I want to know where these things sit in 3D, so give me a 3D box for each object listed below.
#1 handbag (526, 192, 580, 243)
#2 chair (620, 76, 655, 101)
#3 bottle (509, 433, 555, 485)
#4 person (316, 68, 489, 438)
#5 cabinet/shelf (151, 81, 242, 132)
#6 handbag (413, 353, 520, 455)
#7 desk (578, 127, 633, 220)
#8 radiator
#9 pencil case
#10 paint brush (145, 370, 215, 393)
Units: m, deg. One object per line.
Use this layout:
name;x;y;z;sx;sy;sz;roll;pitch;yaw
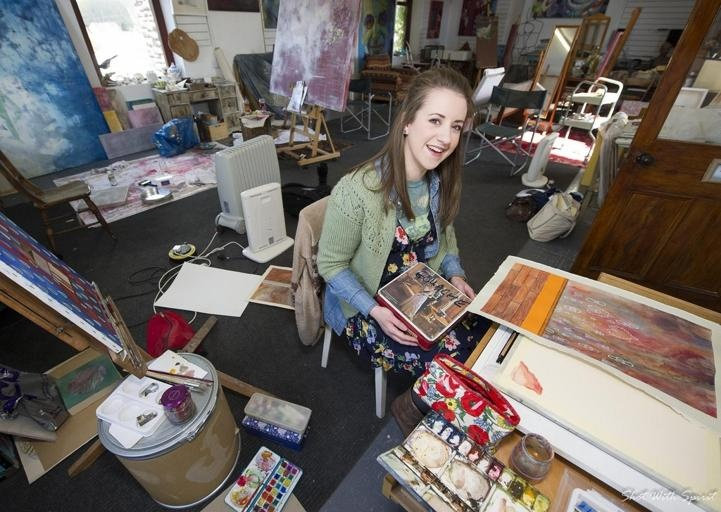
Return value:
handbag;1.902;-0.371;4.128;0.546;0.389;0.383;-15;37;-23
chair;4.670;-2.775;7.162;0.451;0.352;0.458;20;38;25
bottle;0.690;0.814;1.708;0.152;0.136;0.136;26;41;32
person;0.201;0.028;2.431;0.814;1.929;0.880;1;23;-15
cabinet/shelf;-2.343;-2.147;6.223;0.400;0.750;1.172;26;41;32
handbag;0.537;0.591;1.986;0.545;0.335;0.354;21;28;21
desk;2.415;-0.869;4.223;0.290;0.939;1.194;18;38;24
radiator;-1.071;-0.650;4.023;0.646;0.822;0.283;-28;43;-36
pencil case;-0.502;0.991;2.568;0.380;0.186;0.183;11;35;13
paint brush;-0.930;0.645;2.156;0.290;0.035;0.044;15;34;-2
